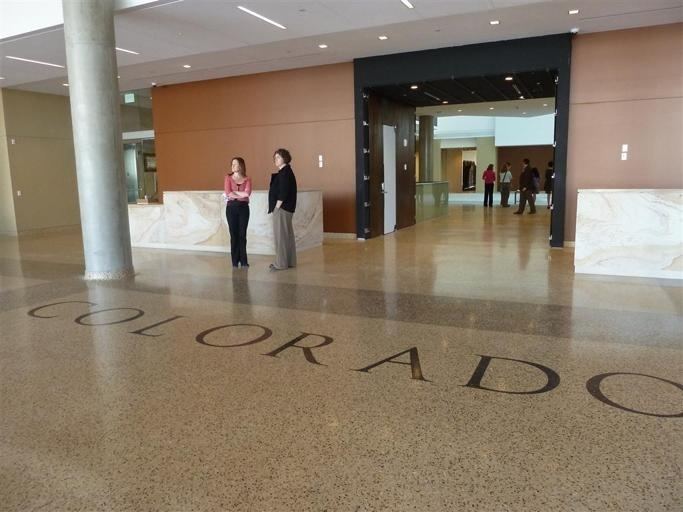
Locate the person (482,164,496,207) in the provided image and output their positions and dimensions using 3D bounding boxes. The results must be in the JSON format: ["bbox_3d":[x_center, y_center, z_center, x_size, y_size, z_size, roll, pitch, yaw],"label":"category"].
[{"bbox_3d":[6.437,-3.051,21.336,0.421,1.835,1.548,2,11,16],"label":"person"}]

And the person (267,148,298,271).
[{"bbox_3d":[-0.994,-0.778,8.220,0.486,1.978,0.414,-3,10,-9],"label":"person"}]

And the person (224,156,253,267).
[{"bbox_3d":[-1.806,-0.772,8.597,0.441,1.858,0.658,-3,11,-13],"label":"person"}]
